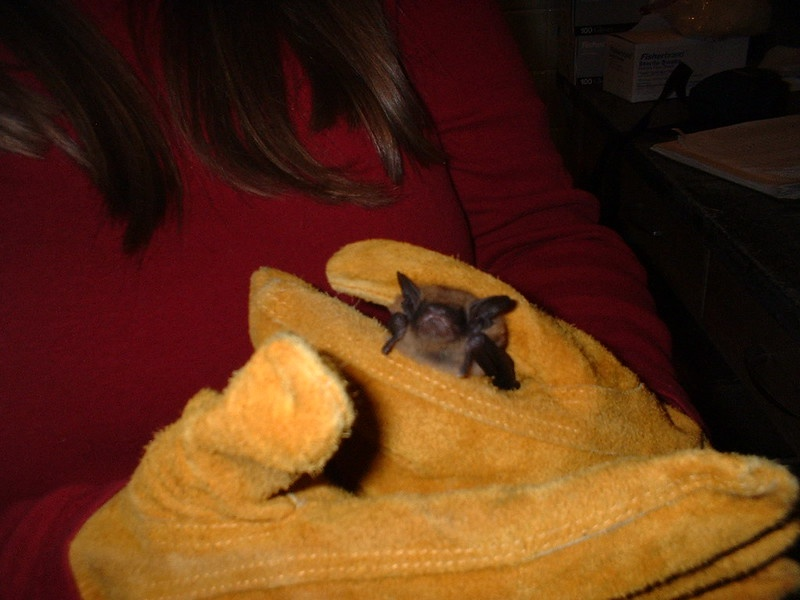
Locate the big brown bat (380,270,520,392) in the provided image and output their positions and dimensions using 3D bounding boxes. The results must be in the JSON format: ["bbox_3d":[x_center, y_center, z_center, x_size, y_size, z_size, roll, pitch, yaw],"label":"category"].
[{"bbox_3d":[0.093,0.037,1.040,0.261,0.115,0.188,12,6,33],"label":"big brown bat"}]
